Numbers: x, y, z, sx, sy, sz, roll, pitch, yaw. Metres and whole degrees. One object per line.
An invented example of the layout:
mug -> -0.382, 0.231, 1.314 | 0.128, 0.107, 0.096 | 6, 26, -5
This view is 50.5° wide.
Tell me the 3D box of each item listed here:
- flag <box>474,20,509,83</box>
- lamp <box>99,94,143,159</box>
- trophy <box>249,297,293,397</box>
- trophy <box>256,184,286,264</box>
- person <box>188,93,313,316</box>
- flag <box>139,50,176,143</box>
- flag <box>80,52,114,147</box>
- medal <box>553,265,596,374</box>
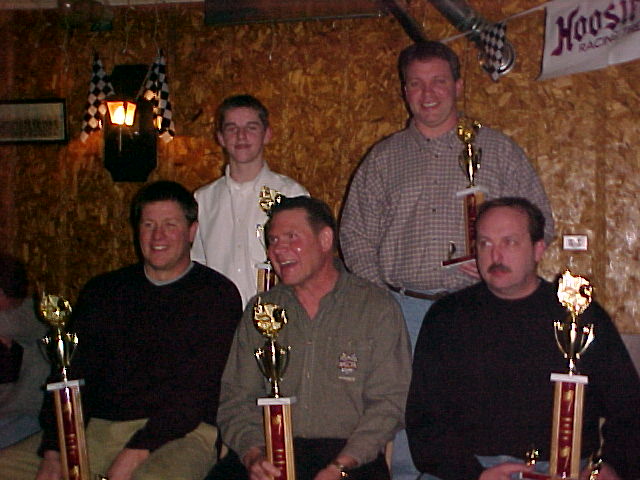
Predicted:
flag -> 1.403, -1.574, 5.561 | 0.113, 0.412, 0.254 | 2, 7, 20
lamp -> -1.759, -1.017, 6.017 | 0.216, 0.536, 0.246 | 9, 11, 42
trophy -> -0.264, 0.558, 3.584 | 0.188, 0.505, 0.323 | 0, -5, -6
trophy -> -0.311, -0.098, 4.158 | 0.210, 0.496, 0.202 | 3, -3, -13
person -> -0.497, -0.251, 4.825 | 0.755, 1.503, 0.661 | 1, 12, -10
flag -> -1.472, -1.300, 6.096 | 0.314, 0.809, 0.093 | -2, -5, 21
flag -> -2.020, -1.314, 6.200 | 0.271, 0.941, 0.121 | 9, 14, 35
medal -> 1.288, 0.412, 3.453 | 0.193, 0.524, 0.193 | -2, -5, 20
